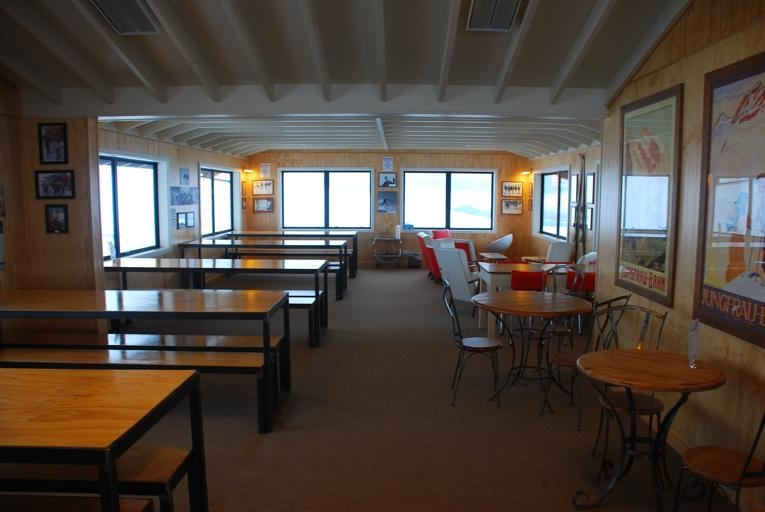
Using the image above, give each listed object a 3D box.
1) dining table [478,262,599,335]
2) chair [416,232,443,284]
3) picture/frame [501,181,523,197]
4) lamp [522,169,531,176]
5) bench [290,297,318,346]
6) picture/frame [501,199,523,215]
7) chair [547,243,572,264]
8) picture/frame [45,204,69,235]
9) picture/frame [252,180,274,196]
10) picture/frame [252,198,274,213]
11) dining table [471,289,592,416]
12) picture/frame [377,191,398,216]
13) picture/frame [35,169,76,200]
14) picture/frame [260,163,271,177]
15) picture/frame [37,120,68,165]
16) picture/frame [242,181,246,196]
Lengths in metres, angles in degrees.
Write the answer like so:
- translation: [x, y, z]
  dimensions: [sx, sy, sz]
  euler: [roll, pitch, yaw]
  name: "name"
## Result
- translation: [1.943, 0.358, 7.748]
  dimensions: [1.461, 0.995, 1.058]
  euler: [-1, 1, -2]
  name: "dining table"
- translation: [0.941, 0.050, 10.939]
  dimensions: [0.378, 0.469, 1.098]
  euler: [-1, 8, -1]
  name: "chair"
- translation: [3.147, -1.603, 13.446]
  dimensions: [0.431, 0.325, 0.057]
  euler: [0, -1, 1]
  name: "picture/frame"
- translation: [3.474, -1.988, 13.333]
  dimensions: [0.097, 0.130, 0.226]
  euler: [-5, 8, -40]
  name: "lamp"
- translation: [-1.002, 0.856, 7.070]
  dimensions: [0.354, 0.584, 0.424]
  euler: [-1, 6, -10]
  name: "bench"
- translation: [3.139, -1.205, 13.475]
  dimensions: [0.420, 0.273, 0.055]
  euler: [-1, 9, -1]
  name: "picture/frame"
- translation: [3.232, -0.056, 10.030]
  dimensions: [0.359, 0.439, 0.413]
  euler: [0, 3, 25]
  name: "chair"
- translation: [-3.957, -0.460, 6.742]
  dimensions: [0.392, 0.487, 0.036]
  euler: [0, 3, -9]
  name: "picture/frame"
- translation: [-2.926, -1.682, 13.583]
  dimensions: [0.432, 0.293, 0.030]
  euler: [0, 3, -5]
  name: "picture/frame"
- translation: [-2.947, -1.263, 13.648]
  dimensions: [0.393, 0.296, 0.027]
  euler: [0, 3, -5]
  name: "picture/frame"
- translation: [1.608, 1.066, 6.287]
  dimensions: [1.425, 0.990, 1.362]
  euler: [0, 3, 0]
  name: "dining table"
- translation: [0.106, -1.310, 13.497]
  dimensions: [0.645, 0.625, 0.071]
  euler: [0, 8, 2]
  name: "picture/frame"
- translation: [-3.962, -0.884, 6.723]
  dimensions: [0.403, 0.308, 0.029]
  euler: [0, 1, -5]
  name: "picture/frame"
- translation: [-2.844, -2.096, 13.543]
  dimensions: [0.360, 0.434, 0.058]
  euler: [0, 2, -3]
  name: "picture/frame"
- translation: [-3.991, -1.353, 6.716]
  dimensions: [0.346, 0.494, 0.052]
  euler: [0, 6, 1]
  name: "picture/frame"
- translation: [-3.390, -1.630, 13.511]
  dimensions: [0.030, 0.345, 0.145]
  euler: [2, 7, 21]
  name: "picture/frame"
